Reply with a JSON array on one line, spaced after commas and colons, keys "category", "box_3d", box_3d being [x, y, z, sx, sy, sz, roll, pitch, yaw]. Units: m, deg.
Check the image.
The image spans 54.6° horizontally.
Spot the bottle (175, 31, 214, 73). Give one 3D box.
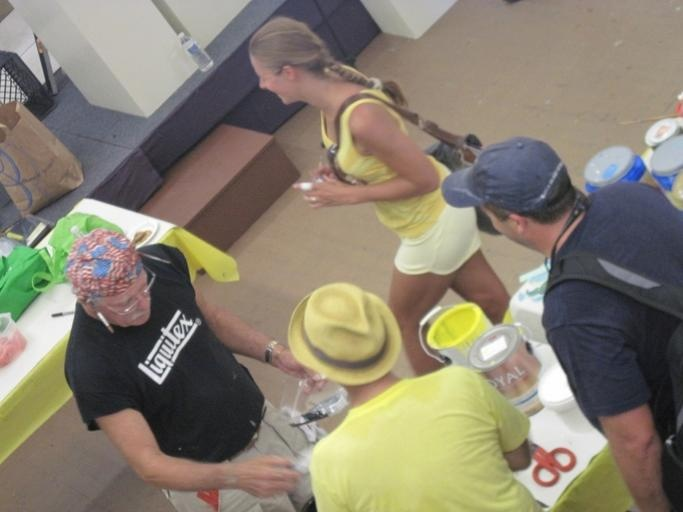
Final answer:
[{"category": "bottle", "box_3d": [-1.220, -1.730, 5.556, 0.320, 0.336, 0.238, -3, 22, 9]}]

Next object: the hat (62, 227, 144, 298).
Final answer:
[{"category": "hat", "box_3d": [-0.959, 0.027, 2.656, 0.270, 0.210, 0.264, -21, 26, -32]}]

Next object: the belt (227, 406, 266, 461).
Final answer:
[{"category": "belt", "box_3d": [-0.397, 0.800, 2.953, 0.144, 0.076, 0.196, -23, 41, 54]}]

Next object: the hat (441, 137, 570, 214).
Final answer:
[{"category": "hat", "box_3d": [0.571, -0.248, 2.379, 0.382, 0.183, 0.255, 18, 66, 29]}]
